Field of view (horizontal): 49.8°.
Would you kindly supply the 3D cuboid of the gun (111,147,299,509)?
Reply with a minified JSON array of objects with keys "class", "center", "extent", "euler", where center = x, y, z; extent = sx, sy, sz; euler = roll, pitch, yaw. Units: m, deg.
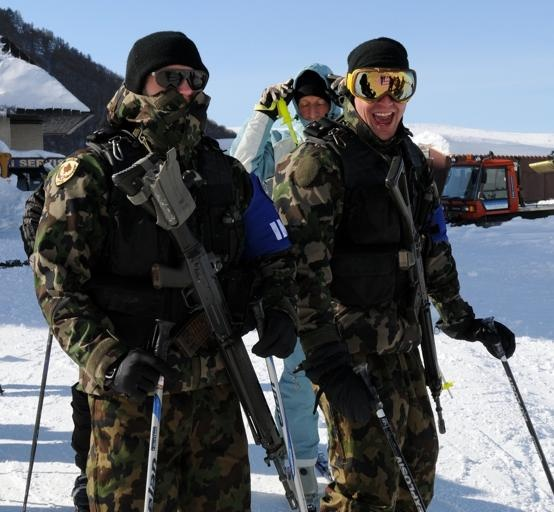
[{"class":"gun","center":[-0.306,0.272,2.386],"extent":[0.265,1.677,0.495],"euler":[-28,1,15]}]

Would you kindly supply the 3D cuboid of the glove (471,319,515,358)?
[{"class":"glove","center":[1.175,0.456,3.368],"extent":[0.195,0.240,0.087],"euler":[-39,-6,-20]}]

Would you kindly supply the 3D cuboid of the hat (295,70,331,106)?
[{"class":"hat","center":[0.267,-1.230,4.377],"extent":[0.211,0.254,0.203],"euler":[-11,30,8]}]

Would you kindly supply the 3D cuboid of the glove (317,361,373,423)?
[{"class":"glove","center":[0.293,0.606,2.550],"extent":[0.189,0.273,0.174],"euler":[1,5,-18]}]
